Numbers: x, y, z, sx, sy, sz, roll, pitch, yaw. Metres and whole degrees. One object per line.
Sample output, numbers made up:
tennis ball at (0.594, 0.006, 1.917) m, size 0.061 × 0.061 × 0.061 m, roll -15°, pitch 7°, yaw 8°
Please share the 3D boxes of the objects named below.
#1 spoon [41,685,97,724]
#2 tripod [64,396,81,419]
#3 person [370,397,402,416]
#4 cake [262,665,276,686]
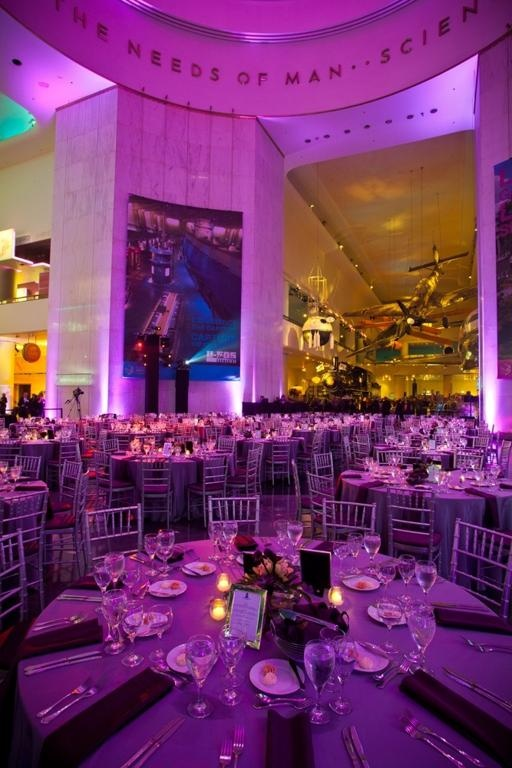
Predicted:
spoon at (-0.479, 0.807, 1.210) m, size 0.035 × 0.017 × 0.106 m, roll 10°, pitch 23°, yaw 33°
tripod at (-5.274, 0.661, 13.856) m, size 0.428 × 0.808 × 0.510 m, roll -4°, pitch -4°, yaw 33°
person at (5.815, 1.005, 21.696) m, size 1.168 × 0.555 × 0.411 m, roll 7°, pitch 5°, yaw 32°
cake at (0.033, 0.792, 1.312) m, size 0.039 × 0.033 × 0.066 m, roll -2°, pitch -3°, yaw 0°
